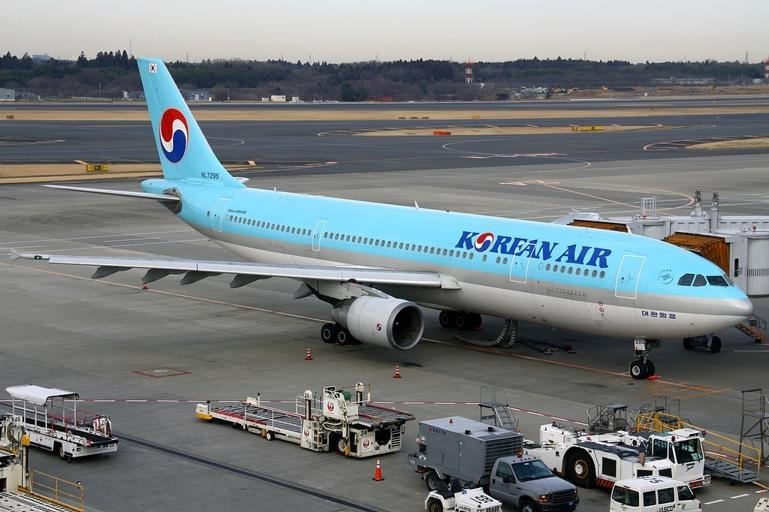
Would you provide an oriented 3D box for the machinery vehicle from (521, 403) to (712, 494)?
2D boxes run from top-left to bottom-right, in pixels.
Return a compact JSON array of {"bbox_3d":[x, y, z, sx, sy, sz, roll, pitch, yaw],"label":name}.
[{"bbox_3d":[7.996,6.608,32.928,5.167,1.080,3.117,4,10,42],"label":"machinery vehicle"}]
